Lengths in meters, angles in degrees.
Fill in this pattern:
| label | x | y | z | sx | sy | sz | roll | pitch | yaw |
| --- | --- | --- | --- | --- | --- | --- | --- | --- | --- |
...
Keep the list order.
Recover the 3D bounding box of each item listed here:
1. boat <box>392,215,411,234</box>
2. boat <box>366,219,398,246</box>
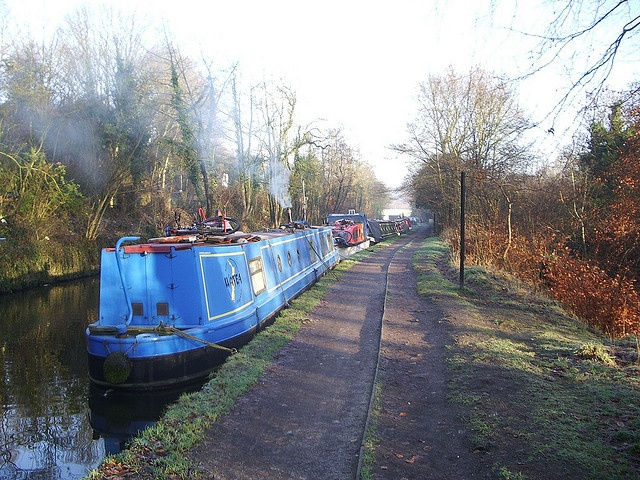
| label | x | y | z | sx | sy | sz | roll | pitch | yaw |
| --- | --- | --- | --- | --- | --- | --- | --- | --- | --- |
| boat | 10.588 | -1.829 | 60.851 | 1.547 | 2.205 | 10.216 | -5 | -5 | 13 |
| boat | 5.776 | -0.833 | 43.680 | 1.386 | 1.716 | 10.297 | 5 | 8 | 17 |
